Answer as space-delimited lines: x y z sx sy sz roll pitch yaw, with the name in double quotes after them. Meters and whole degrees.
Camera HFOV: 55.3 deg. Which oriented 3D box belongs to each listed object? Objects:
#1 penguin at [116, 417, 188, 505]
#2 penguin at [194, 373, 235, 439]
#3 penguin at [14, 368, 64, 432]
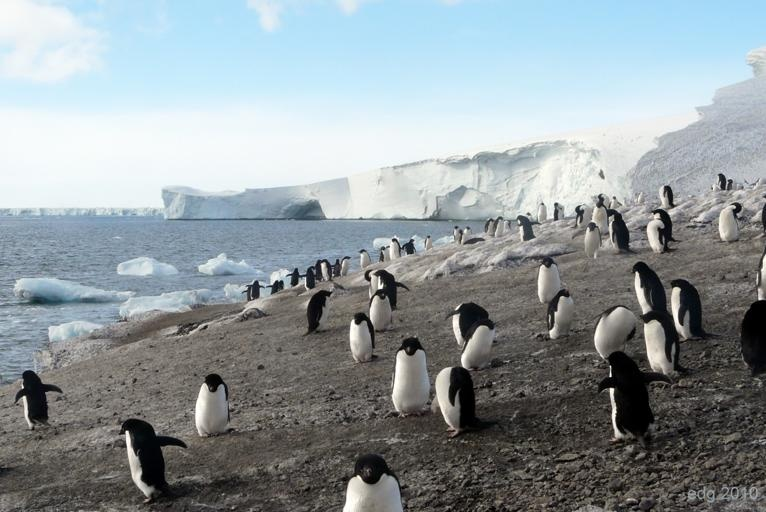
-3.251 2.822 10.158 0.661 1.085 0.463 -3 2 21 "penguin"
-2.662 2.311 11.337 0.490 0.878 0.346 -4 1 -16 "penguin"
-6.340 2.593 13.321 0.671 1.075 1.235 -4 1 -27 "penguin"
